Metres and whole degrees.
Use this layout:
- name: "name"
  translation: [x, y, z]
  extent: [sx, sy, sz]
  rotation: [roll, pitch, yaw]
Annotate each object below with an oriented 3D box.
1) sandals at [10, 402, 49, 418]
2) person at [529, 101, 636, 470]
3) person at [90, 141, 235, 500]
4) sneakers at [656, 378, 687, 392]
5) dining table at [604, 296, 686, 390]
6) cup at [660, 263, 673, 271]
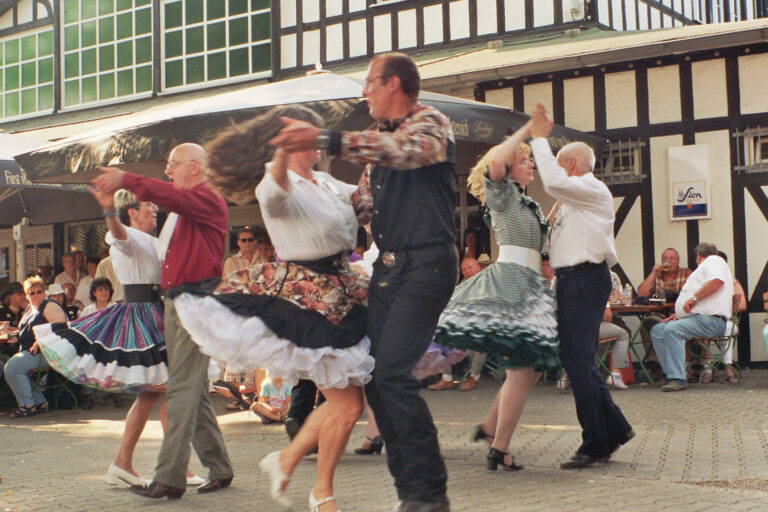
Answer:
- name: "sandals"
  translation: [-4.554, 2.003, 12.716]
  extent: [0.588, 0.203, 0.185]
  rotation: [5, -6, -30]
- name: "person"
  translation: [1.840, 0.407, 9.016]
  extent: [1.310, 2.980, 1.620]
  rotation: [0, 0, 17]
- name: "person"
  translation: [-1.759, 0.548, 8.518]
  extent: [0.899, 3.125, 1.001]
  rotation: [-1, 5, 34]
- name: "sneakers"
  translation: [3.710, 1.660, 12.544]
  extent: [0.442, 0.142, 0.139]
  rotation: [7, -10, -31]
- name: "dining table"
  translation: [3.695, 1.177, 13.545]
  extent: [1.348, 1.020, 1.217]
  rotation: [-3, 0, 4]
- name: "cup"
  translation: [3.961, 0.147, 13.581]
  extent: [0.126, 0.100, 0.111]
  rotation: [3, -13, -11]
